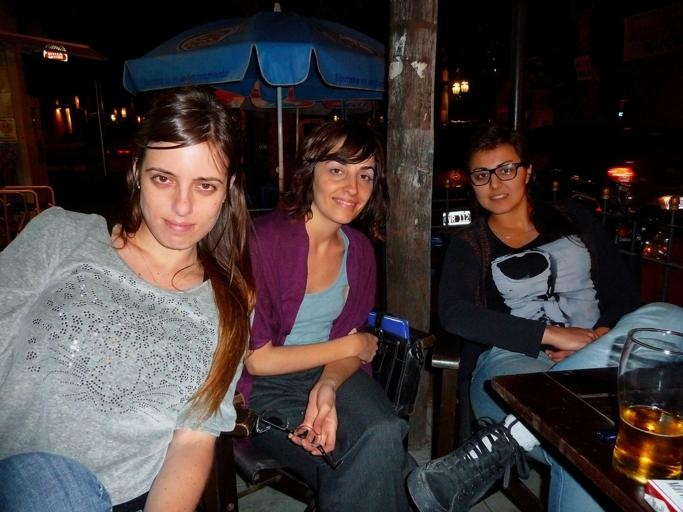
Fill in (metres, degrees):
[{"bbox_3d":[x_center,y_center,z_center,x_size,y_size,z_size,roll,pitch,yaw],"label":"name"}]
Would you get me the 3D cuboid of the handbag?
[{"bbox_3d":[0.272,0.614,2.867,0.213,0.508,0.483,9,-1,-29],"label":"handbag"}]
